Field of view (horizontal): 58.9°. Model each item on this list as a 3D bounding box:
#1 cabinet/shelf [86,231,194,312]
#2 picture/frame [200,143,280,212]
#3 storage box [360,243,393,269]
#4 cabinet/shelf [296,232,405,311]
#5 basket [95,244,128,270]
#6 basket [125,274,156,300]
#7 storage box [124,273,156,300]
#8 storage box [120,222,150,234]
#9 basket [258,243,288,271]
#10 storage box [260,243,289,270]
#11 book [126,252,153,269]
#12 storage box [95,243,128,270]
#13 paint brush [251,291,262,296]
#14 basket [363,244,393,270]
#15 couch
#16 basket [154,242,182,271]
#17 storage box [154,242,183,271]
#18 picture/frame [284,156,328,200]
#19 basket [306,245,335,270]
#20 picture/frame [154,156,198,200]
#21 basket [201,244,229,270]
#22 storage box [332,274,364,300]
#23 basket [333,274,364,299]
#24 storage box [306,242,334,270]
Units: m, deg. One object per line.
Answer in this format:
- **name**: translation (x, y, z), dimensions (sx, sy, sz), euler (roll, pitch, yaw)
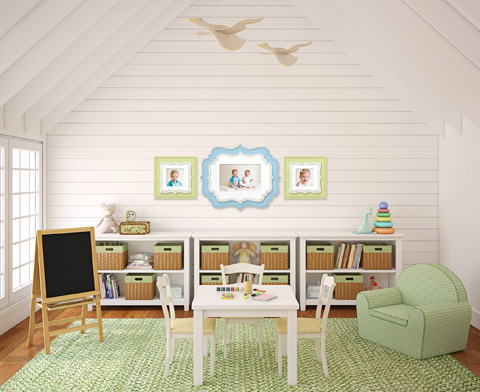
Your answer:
- **cabinet/shelf**: translation (-1.285, 0.969, 5.426), dimensions (1.234, 0.974, 0.427), euler (0, -2, 0)
- **picture/frame**: translation (0.015, -0.259, 5.918), dimensions (1.003, 0.840, 0.052), euler (-1, 1, -1)
- **storage box**: translation (1.809, 0.782, 5.581), dimensions (0.341, 0.234, 0.343), euler (0, -3, 5)
- **cabinet/shelf**: translation (1.390, 0.948, 5.392), dimensions (1.103, 0.769, 0.387), euler (0, -2, -1)
- **basket**: translation (-1.705, 0.797, 5.659), dimensions (0.359, 0.253, 0.349), euler (0, 1, -4)
- **basket**: translation (-1.323, 1.209, 5.595), dimensions (0.347, 0.257, 0.346), euler (1, -4, -4)
- **storage box**: translation (-1.311, 1.192, 5.620), dimensions (0.359, 0.256, 0.344), euler (1, -2, -2)
- **storage box**: translation (-1.404, 0.415, 5.608), dimensions (0.388, 0.157, 0.261), euler (0, 7, -2)
- **basket**: translation (0.424, 0.840, 5.747), dimensions (0.413, 0.218, 0.417), euler (-10, -9, 41)
- **storage box**: translation (0.460, 0.783, 5.602), dimensions (0.348, 0.250, 0.345), euler (0, -4, -1)
- **book**: translation (-1.322, 0.827, 5.656), dimensions (0.212, 0.133, 0.282), euler (0, 0, -2)
- **storage box**: translation (-1.689, 0.794, 5.604), dimensions (0.365, 0.329, 0.355), euler (0, 1, -9)
- **paint brush**: translation (0.152, 0.925, 4.023), dimensions (0.032, 0.042, 0.147), euler (-5, -7, 18)
- **basket**: translation (1.812, 0.794, 5.580), dimensions (0.337, 0.233, 0.340), euler (0, -3, 3)
- **couch**: translation (1.848, 1.203, 4.680), dimensions (0.920, 0.988, 1.171), euler (2, -2, -25)
- **basket**: translation (-0.875, 0.825, 5.778), dimensions (0.513, 0.302, 0.512), euler (-2, -5, 6)
- **storage box**: translation (-0.954, 0.801, 5.697), dimensions (0.358, 0.236, 0.336), euler (0, 1, -2)
- **picture/frame**: translation (0.921, -0.267, 5.913), dimensions (0.647, 0.614, 0.108), euler (0, -1, 1)
- **basket**: translation (1.048, 0.805, 5.582), dimensions (0.333, 0.234, 0.326), euler (0, 1, 9)
- **picture/frame**: translation (-0.903, -0.272, 5.921), dimensions (0.640, 0.605, 0.063), euler (0, 0, -1)
- **basket**: translation (-0.328, 0.813, 5.678), dimensions (0.385, 0.322, 0.234), euler (1, -13, -7)
- **storage box**: translation (1.433, 1.191, 5.822), dimensions (0.452, 0.407, 0.446), euler (1, -2, -1)
- **basket**: translation (1.431, 1.192, 5.822), dimensions (0.449, 0.405, 0.438), euler (1, -2, -1)
- **storage box**: translation (1.055, 0.806, 5.701), dimensions (0.332, 0.245, 0.337), euler (0, -3, 0)
